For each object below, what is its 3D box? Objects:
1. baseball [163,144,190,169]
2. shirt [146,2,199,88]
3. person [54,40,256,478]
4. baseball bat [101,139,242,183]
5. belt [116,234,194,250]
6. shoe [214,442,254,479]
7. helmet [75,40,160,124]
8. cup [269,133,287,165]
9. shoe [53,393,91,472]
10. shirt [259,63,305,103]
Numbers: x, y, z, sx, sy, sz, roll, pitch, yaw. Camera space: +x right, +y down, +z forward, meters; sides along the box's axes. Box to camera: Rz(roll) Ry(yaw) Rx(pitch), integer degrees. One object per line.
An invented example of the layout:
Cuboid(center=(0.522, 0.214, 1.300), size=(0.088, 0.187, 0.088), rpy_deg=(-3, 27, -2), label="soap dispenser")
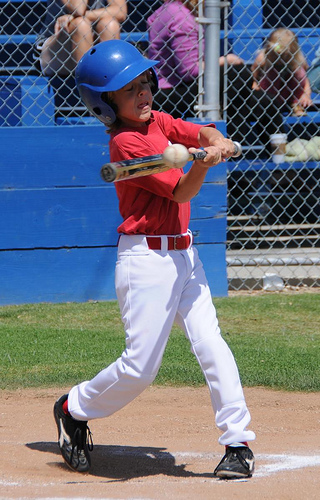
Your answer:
Cuboid(center=(0.043, -0.265, 1.857), size=(0.074, 0.073, 0.068), rpy_deg=(1, 2, -12), label="baseball")
Cuboid(center=(0.087, -1.546, 4.987), size=(0.366, 0.630, 0.648), rpy_deg=(-1, 11, -1), label="shirt")
Cuboid(center=(-0.004, 0.039, 2.215), size=(0.680, 1.484, 0.664), rpy_deg=(-5, 13, -20), label="person")
Cuboid(center=(0.088, -0.294, 1.961), size=(0.621, 0.078, 0.084), rpy_deg=(-14, -4, -30), label="baseball bat")
Cuboid(center=(-0.023, -0.030, 2.239), size=(0.245, 0.050, 0.123), rpy_deg=(0, 10, 1), label="belt")
Cuboid(center=(0.249, 0.678, 2.177), size=(0.104, 0.094, 0.207), rpy_deg=(6, 2, 24), label="shoe")
Cuboid(center=(-0.144, -0.594, 2.287), size=(0.301, 0.235, 0.272), rpy_deg=(15, 39, 35), label="helmet")
Cuboid(center=(0.956, -0.849, 5.532), size=(0.130, 0.262, 0.436), rpy_deg=(1, 11, 10), label="cup")
Cuboid(center=(-0.300, 0.647, 2.355), size=(0.093, 0.237, 0.113), rpy_deg=(-5, -23, -40), label="shoe")
Cuboid(center=(0.966, -1.366, 5.407), size=(0.343, 0.296, 0.689), rpy_deg=(2, 11, 15), label="shirt")
